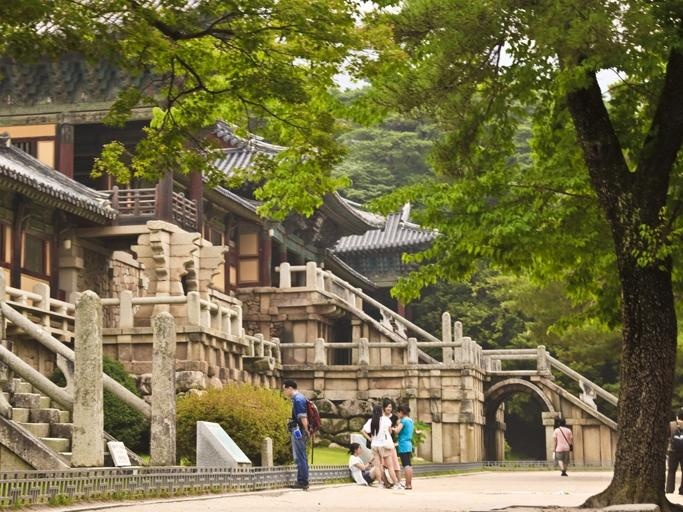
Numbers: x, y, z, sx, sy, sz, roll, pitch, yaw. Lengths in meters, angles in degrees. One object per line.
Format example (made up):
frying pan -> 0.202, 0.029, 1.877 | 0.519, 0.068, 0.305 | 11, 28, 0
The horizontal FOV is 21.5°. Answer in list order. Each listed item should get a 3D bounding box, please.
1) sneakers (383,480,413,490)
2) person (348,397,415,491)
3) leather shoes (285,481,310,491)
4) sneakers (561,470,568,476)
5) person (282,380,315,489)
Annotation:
sneakers -> 1.049, 4.386, 34.229 | 0.592, 0.216, 0.194 | -2, -7, 8
person -> 0.804, 3.633, 34.582 | 0.781, 1.754, 1.468 | 1, -12, 0
leather shoes -> -0.813, 4.294, 33.276 | 0.470, 0.187, 0.156 | 4, -13, 24
sneakers -> 5.050, 4.913, 40.389 | 0.209, 0.180, 0.083 | 0, 2, -7
person -> -0.812, 3.286, 32.840 | 0.446, 1.932, 0.797 | 0, -13, 4
